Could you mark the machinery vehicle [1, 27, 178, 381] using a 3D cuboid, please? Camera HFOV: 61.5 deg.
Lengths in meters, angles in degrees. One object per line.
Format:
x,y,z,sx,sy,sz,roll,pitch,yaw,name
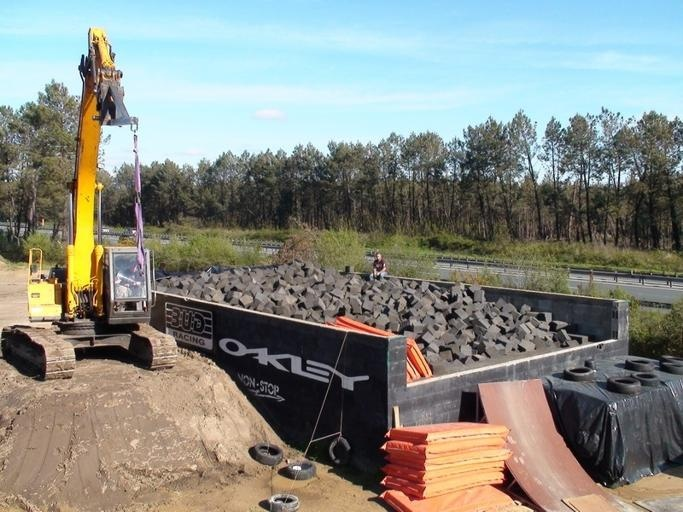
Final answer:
-5.683,-0.996,13.005,2.998,7.420,5.377,0,0,-34,machinery vehicle
